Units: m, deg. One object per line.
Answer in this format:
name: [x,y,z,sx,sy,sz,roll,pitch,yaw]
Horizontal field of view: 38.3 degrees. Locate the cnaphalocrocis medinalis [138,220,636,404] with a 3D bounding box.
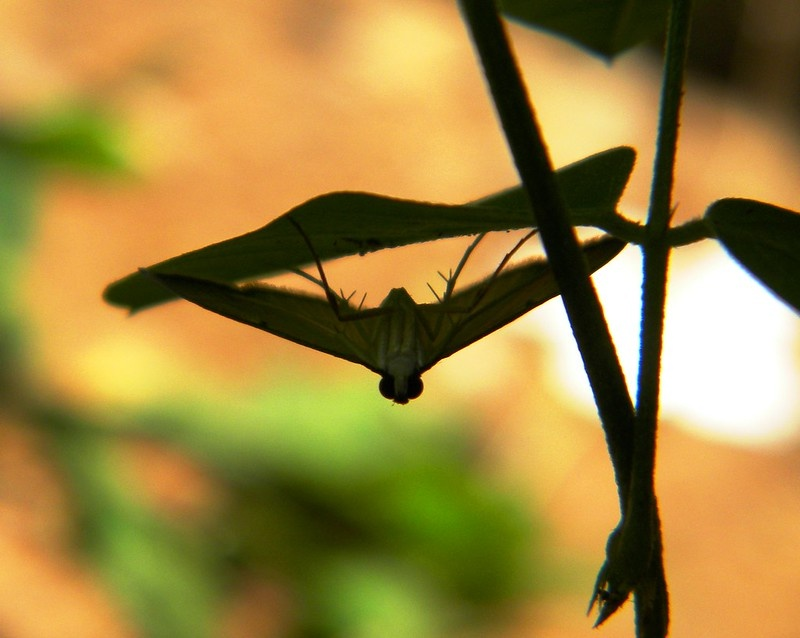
cnaphalocrocis medinalis: [-0.012,0.003,3.538,1.497,0.684,0.796,-3,-81,6]
